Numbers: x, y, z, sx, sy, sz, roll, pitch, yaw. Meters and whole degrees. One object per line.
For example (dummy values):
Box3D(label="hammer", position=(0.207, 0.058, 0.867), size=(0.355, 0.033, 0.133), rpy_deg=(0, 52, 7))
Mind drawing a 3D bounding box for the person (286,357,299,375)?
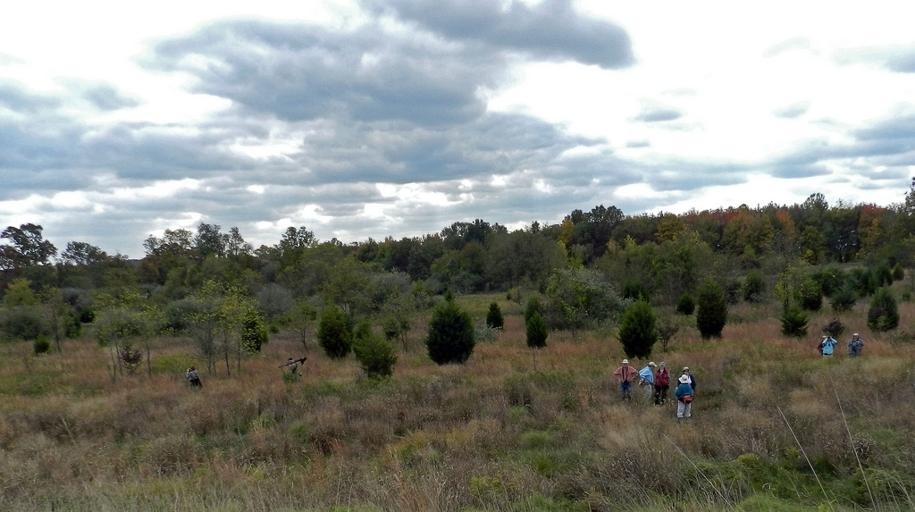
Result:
Box3D(label="person", position=(-14.963, 10.156, 73.348), size=(1.350, 0.806, 1.355), rpy_deg=(8, -37, -17))

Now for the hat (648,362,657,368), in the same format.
Box3D(label="hat", position=(16.481, 9.169, 67.478), size=(0.639, 0.486, 0.962), rpy_deg=(-11, -13, 37))

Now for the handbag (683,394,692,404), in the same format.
Box3D(label="handbag", position=(18.634, 11.476, 64.149), size=(0.896, 0.734, 0.463), rpy_deg=(0, -3, -44))
